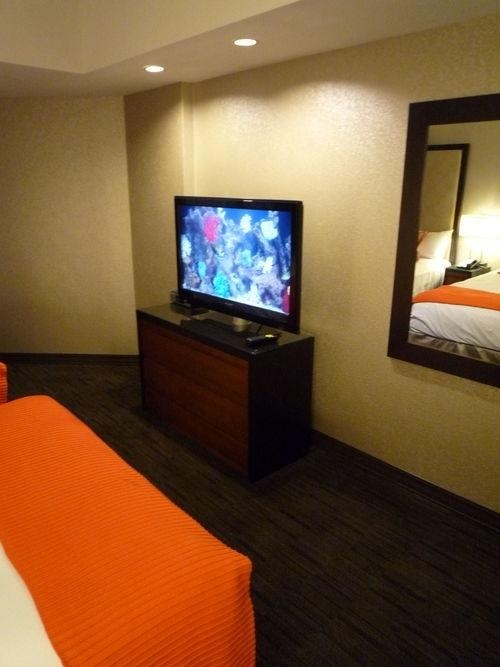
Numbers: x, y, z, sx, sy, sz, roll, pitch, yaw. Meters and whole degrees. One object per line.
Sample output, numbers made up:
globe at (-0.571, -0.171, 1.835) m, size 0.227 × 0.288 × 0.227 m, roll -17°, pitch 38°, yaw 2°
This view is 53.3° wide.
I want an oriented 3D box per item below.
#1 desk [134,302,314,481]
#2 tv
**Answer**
desk at (-0.141, 0.205, 2.435) m, size 0.410 × 0.546 × 0.864 m, roll -15°, pitch 24°, yaw -41°
tv at (-0.033, -0.286, 2.199) m, size 0.641 × 0.451 × 0.078 m, roll 19°, pitch 28°, yaw 39°
